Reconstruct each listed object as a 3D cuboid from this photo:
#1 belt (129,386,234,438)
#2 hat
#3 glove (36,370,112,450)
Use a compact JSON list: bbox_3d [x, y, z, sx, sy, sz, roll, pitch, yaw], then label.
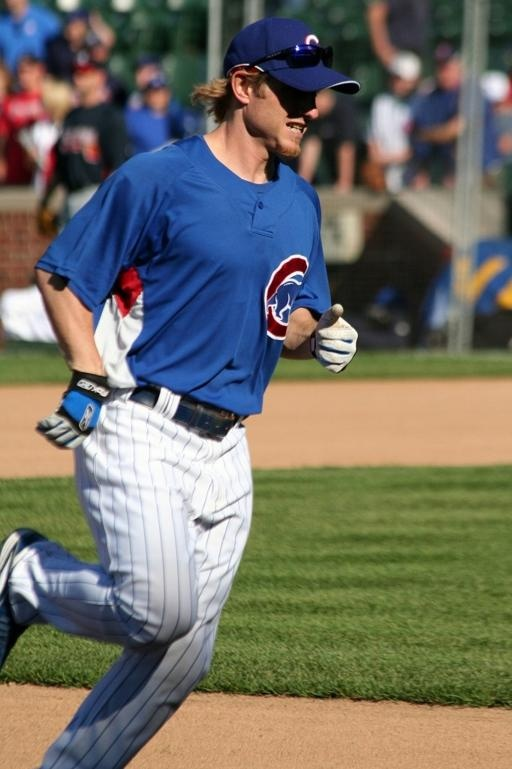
[{"bbox_3d":[-0.177,0.089,3.029,0.173,0.059,0.127,22,-4,-10],"label":"belt"},{"bbox_3d":[0.089,-0.813,3.175,0.330,0.163,0.233,19,20,41],"label":"hat"},{"bbox_3d":[-0.416,0.054,2.948,0.128,0.185,0.075,29,-24,-37],"label":"glove"}]
